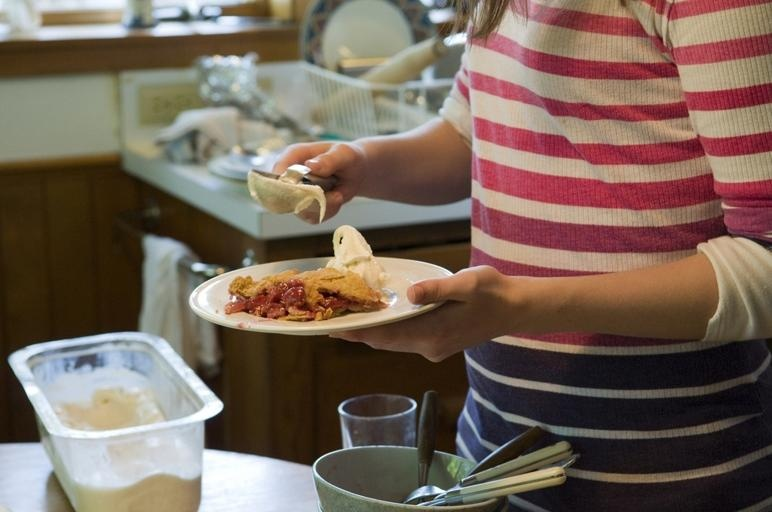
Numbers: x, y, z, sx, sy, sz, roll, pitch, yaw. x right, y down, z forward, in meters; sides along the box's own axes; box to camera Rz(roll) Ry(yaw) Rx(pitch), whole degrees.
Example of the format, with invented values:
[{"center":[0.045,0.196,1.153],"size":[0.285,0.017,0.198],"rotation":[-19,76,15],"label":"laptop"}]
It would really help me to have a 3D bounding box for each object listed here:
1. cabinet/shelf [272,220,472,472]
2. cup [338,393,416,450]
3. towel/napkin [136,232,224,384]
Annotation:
[{"center":[-0.078,0.216,2.435],"size":[0.606,1.085,0.565],"rotation":[2,6,-2],"label":"cabinet/shelf"},{"center":[-0.014,0.259,1.163],"size":[0.093,0.091,0.097],"rotation":[-1,-1,0],"label":"cup"},{"center":[-0.469,0.113,1.668],"size":[0.095,0.297,0.234],"rotation":[-5,-22,21],"label":"towel/napkin"}]
